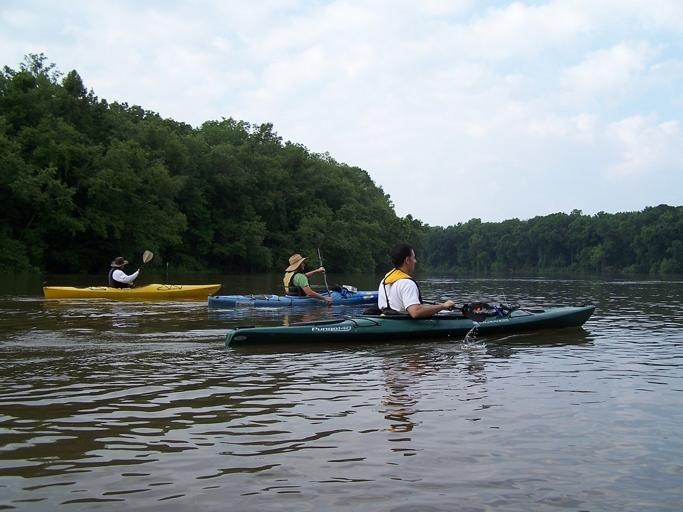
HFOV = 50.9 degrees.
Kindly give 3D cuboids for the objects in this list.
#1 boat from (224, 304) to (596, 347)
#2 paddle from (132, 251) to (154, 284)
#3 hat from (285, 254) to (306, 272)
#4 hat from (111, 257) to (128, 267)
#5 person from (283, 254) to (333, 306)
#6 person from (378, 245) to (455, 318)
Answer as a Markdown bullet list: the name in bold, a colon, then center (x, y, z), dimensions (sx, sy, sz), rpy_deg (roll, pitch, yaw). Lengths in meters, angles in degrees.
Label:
- **boat**: center (1.322, 1.130, 11.973), dimensions (6.292, 0.732, 1.046), rpy_deg (3, -4, -25)
- **paddle**: center (-9.581, 0.523, 34.142), dimensions (0.591, 1.893, 0.102), rpy_deg (28, -40, -3)
- **hat**: center (-1.165, 0.167, 17.630), dimensions (0.360, 0.449, 1.145), rpy_deg (2, -4, -5)
- **hat**: center (-7.792, 0.199, 25.095), dimensions (0.570, 0.181, 0.551), rpy_deg (5, 16, 15)
- **person**: center (-0.934, 0.875, 17.999), dimensions (1.259, 1.700, 0.904), rpy_deg (-8, 21, -26)
- **person**: center (1.268, 0.371, 11.343), dimensions (1.515, 0.893, 1.005), rpy_deg (-8, 14, -30)
